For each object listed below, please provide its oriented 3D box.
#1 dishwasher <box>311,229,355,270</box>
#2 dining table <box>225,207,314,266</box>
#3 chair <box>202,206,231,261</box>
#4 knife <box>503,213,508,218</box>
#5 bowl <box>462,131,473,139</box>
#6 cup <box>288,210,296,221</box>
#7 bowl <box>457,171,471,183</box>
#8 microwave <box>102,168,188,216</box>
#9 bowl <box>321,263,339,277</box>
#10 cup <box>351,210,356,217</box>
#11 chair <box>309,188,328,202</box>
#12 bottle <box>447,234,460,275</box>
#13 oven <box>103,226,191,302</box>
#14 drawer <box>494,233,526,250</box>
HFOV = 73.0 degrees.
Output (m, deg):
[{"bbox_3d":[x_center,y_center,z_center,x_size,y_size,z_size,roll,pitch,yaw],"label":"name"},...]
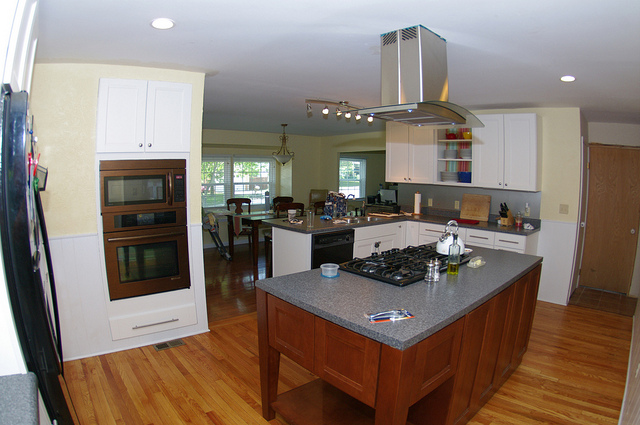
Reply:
[{"bbox_3d":[0.169,0.506,5.652,0.564,0.497,0.343,-7,5,-13],"label":"dishwasher"},{"bbox_3d":[-1.129,0.170,7.583,1.397,0.681,1.014,-6,9,-40],"label":"dining table"},{"bbox_3d":[-1.965,0.407,8.149,0.339,0.957,0.305,-20,2,17],"label":"chair"},{"bbox_3d":[2.581,0.037,6.059,0.018,0.065,0.074,2,-2,-36],"label":"knife"},{"bbox_3d":[2.118,-1.111,6.266,0.112,0.074,0.110,1,2,0],"label":"bowl"},{"bbox_3d":[-0.416,0.050,6.090,0.122,0.136,0.118,1,5,0],"label":"cup"},{"bbox_3d":[2.102,-0.517,6.387,0.168,0.115,0.151,-1,3,-9],"label":"bowl"},{"bbox_3d":[-1.795,-0.249,4.676,0.875,0.510,0.539,-3,-1,0],"label":"microwave"},{"bbox_3d":[0.071,0.489,3.705,0.116,0.049,0.114,2,8,0],"label":"bowl"},{"bbox_3d":[0.522,0.023,6.870,0.086,0.090,0.084,0,15,0],"label":"cup"},{"bbox_3d":[-0.047,-0.408,10.277,0.376,0.479,0.419,1,-1,2],"label":"chair"},{"bbox_3d":[1.223,0.370,3.971,0.099,0.314,0.368,5,13,17],"label":"bottle"},{"bbox_3d":[-1.864,0.622,4.790,0.884,0.732,0.686,-3,-21,-25],"label":"oven"},{"bbox_3d":[2.482,0.385,5.740,0.232,0.134,0.234,0,-2,45],"label":"drawer"}]
